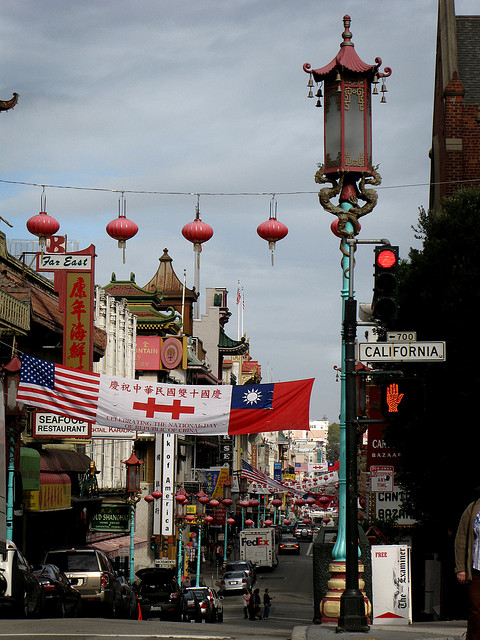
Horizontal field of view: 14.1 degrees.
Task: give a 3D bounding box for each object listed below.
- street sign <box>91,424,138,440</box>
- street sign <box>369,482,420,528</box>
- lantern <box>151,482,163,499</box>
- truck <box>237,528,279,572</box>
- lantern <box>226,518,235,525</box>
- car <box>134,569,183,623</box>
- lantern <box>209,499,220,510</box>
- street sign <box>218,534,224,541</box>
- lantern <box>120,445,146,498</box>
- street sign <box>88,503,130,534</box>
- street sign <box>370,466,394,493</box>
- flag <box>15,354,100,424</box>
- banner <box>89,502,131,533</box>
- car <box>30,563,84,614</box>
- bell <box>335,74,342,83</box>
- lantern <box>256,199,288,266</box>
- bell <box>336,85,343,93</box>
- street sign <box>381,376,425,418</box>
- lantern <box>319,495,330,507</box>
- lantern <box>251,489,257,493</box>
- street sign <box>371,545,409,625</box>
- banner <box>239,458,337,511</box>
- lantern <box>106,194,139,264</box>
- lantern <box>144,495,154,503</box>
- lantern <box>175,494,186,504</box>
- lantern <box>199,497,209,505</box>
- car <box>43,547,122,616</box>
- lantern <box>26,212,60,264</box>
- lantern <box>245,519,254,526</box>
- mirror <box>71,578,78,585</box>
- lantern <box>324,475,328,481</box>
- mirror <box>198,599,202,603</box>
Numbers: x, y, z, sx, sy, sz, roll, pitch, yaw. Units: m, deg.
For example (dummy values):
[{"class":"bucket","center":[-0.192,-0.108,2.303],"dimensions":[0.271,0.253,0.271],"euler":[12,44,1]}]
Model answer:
[{"class":"street sign","center":[-3.400,2.991,52.721],"dimensions":[1.053,0.322,1.212],"euler":[1,-1,-1]},{"class":"street sign","center":[3.861,4.448,47.631],"dimensions":[0.061,1.066,1.353],"euler":[-6,0,-43]},{"class":"lantern","center":[-2.805,6.052,69.202],"dimensions":[0.377,0.724,0.378],"euler":[2,2,-37]},{"class":"truck","center":[0.718,10.069,88.598],"dimensions":[1.561,1.842,3.249],"euler":[0,4,-1]},{"class":"lantern","center":[-0.373,8.925,87.001],"dimensions":[0.355,0.358,0.379],"euler":[-2,0,3]},{"class":"car","center":[-2.091,7.143,51.047],"dimensions":[1.102,1.637,1.325],"euler":[-1,-11,0]},{"class":"lantern","center":[-0.866,6.693,70.855],"dimensions":[0.402,0.334,0.425],"euler":[-1,2,-10]},{"class":"street sign","center":[-0.889,10.643,96.452],"dimensions":[0.277,0.415,0.401],"euler":[-1,-8,9]},{"class":"lantern","center":[-3.110,4.408,56.914],"dimensions":[0.572,1.590,0.593],"euler":[-1,-3,19]},{"class":"street sign","center":[-3.987,6.142,60.872],"dimensions":[1.335,1.106,1.370],"euler":[2,-7,-23]},{"class":"street sign","center":[3.415,3.737,46.257],"dimensions":[0.575,0.758,0.074],"euler":[-2,-2,8]},{"class":"flag","center":[-4.191,1.632,44.365],"dimensions":[1.585,1.196,0.130],"euler":[13,-8,6]},{"class":"banner","center":[-4.077,5.998,61.103],"dimensions":[1.787,1.161,1.292],"euler":[1,-11,-1]},{"class":"car","center":[-4.281,5.864,42.559],"dimensions":[1.390,1.133,3.195],"euler":[0,-7,6]},{"class":"bell","center":[2.078,-4.972,40.500],"dimensions":[0.114,0.173,0.121],"euler":[1,-2,-16]},{"class":"lantern","center":[0.838,-2.178,48.257],"dimensions":[0.563,1.691,0.595],"euler":[0,-6,10]},{"class":"bell","center":[2.107,-4.785,40.578],"dimensions":[0.114,0.138,0.117],"euler":[3,4,24]},{"class":"street sign","center":[3.235,1.474,38.108],"dimensions":[0.738,0.810,0.266],"euler":[1,1,0]},{"class":"lantern","center":[3.121,6.514,70.902],"dimensions":[0.294,0.388,0.315],"euler":[1,7,4]},{"class":"lantern","center":[0.624,6.974,80.512],"dimensions":[0.201,0.285,0.223],"euler":[1,-1,22]},{"class":"street sign","center":[3.286,5.335,41.315],"dimensions":[0.889,1.888,0.850],"euler":[0,20,5]},{"class":"banner","center":[1.832,5.962,74.326],"dimensions":[3.658,1.493,0.440],"euler":[2,18,10]},{"class":"lantern","center":[-2.947,-2.300,49.277],"dimensions":[0.600,1.827,0.690],"euler":[-4,-13,11]},{"class":"lantern","center":[-3.174,6.183,68.157],"dimensions":[0.304,0.342,0.321],"euler":[-1,-2,25]},{"class":"lantern","center":[-1.998,6.035,66.430],"dimensions":[0.243,0.231,0.259],"euler":[-4,0,-1]},{"class":"lantern","center":[-1.241,6.259,67.991],"dimensions":[0.222,0.203,0.236],"euler":[-1,2,0]},{"class":"car","center":[-3.573,6.059,45.186],"dimensions":[1.639,1.683,3.820],"euler":[-3,-7,6]},{"class":"lantern","center":[-5.219,-2.150,51.657],"dimensions":[0.732,1.499,0.814],"euler":[3,8,5]},{"class":"lantern","center":[0.473,9.058,87.708],"dimensions":[0.282,0.295,0.282],"euler":[-4,8,-38]},{"class":"mirror","center":[-3.664,5.746,43.297],"dimensions":[0.182,0.202,0.099],"euler":[-1,5,2]},{"class":"lantern","center":[3.038,5.433,67.742],"dimensions":[0.109,0.182,0.189],"euler":[-1,-10,3]},{"class":"mirror","center":[-1.078,7.736,54.276],"dimensions":[0.082,0.079,0.312],"euler":[-2,-10,6]}]
